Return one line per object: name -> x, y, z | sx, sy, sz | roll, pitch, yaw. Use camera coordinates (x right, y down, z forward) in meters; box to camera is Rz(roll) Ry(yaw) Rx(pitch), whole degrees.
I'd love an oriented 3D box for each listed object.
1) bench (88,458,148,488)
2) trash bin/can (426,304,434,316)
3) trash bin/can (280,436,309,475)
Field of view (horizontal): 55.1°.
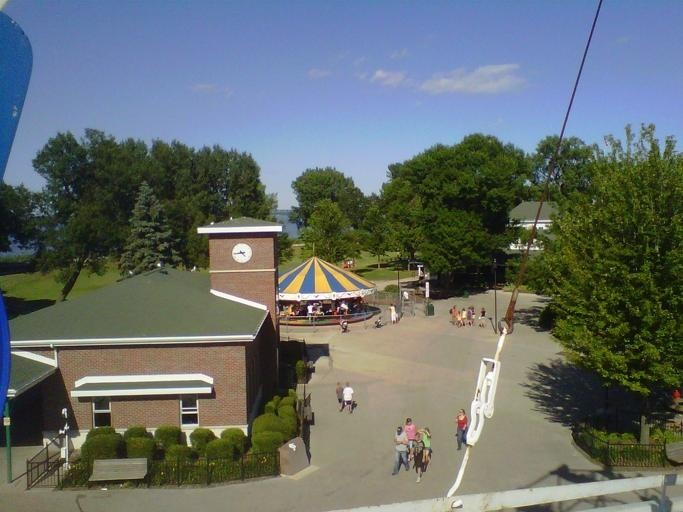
bench -> -9.310, 8.885, 27.526 | 1.551, 1.356, 0.798 | 1, -26, -9
trash bin/can -> 7.682, 4.691, 56.636 | 0.642, 0.953, 0.587 | 0, 8, 8
trash bin/can -> -2.148, 8.853, 28.732 | 0.622, 1.143, 1.180 | -22, -12, 26
